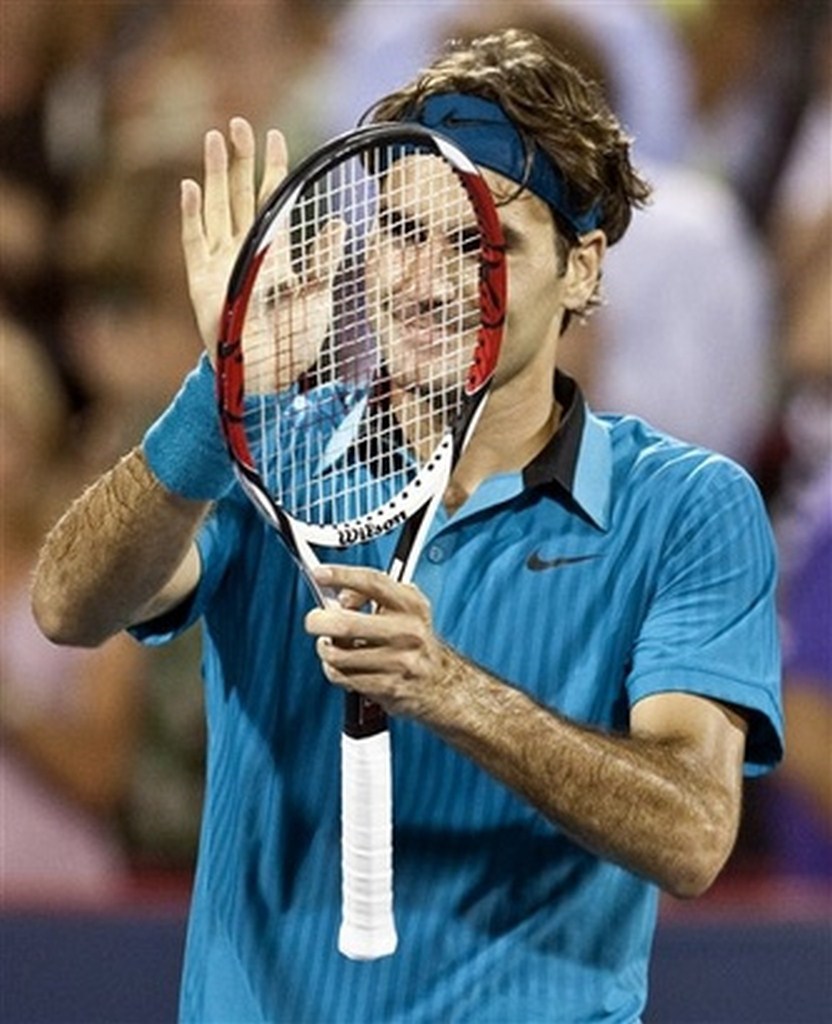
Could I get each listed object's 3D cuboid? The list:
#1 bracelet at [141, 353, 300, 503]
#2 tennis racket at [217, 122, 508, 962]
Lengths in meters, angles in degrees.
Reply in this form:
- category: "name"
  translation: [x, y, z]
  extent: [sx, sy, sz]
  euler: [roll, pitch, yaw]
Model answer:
- category: "bracelet"
  translation: [-0.291, -0.107, 2.130]
  extent: [0.120, 0.178, 0.050]
  euler: [18, 10, 13]
- category: "tennis racket"
  translation: [-0.085, 0.107, 2.354]
  extent: [0.382, 1.288, 0.093]
  euler: [-6, 24, -19]
